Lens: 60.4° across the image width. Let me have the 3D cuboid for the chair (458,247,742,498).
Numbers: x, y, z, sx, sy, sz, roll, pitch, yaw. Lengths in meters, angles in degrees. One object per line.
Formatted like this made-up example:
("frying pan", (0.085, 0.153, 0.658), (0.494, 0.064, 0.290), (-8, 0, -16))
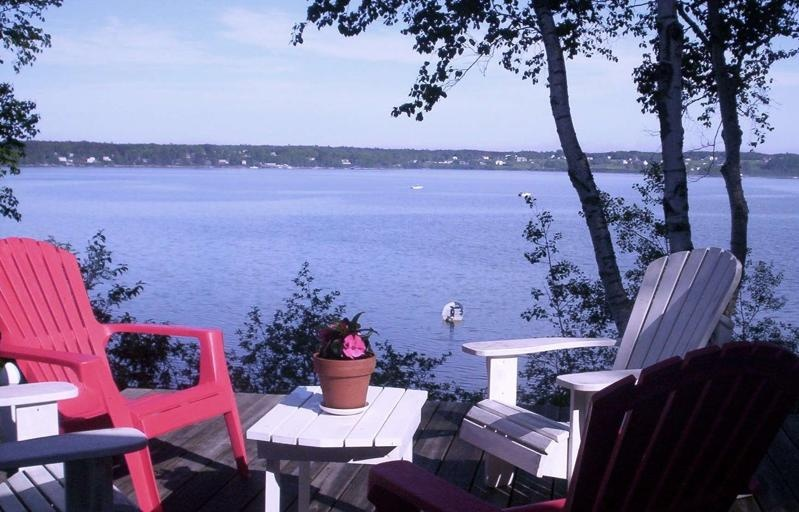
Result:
("chair", (1.157, 0.605, 4.161), (1.665, 1.515, 1.218), (-1, 2, -21))

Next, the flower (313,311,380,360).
("flower", (-0.264, 0.398, 3.558), (0.246, 0.233, 0.294), (1, 9, 25))

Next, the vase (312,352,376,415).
("vase", (-0.282, 0.661, 3.615), (0.327, 0.241, 0.325), (0, -5, -11))
